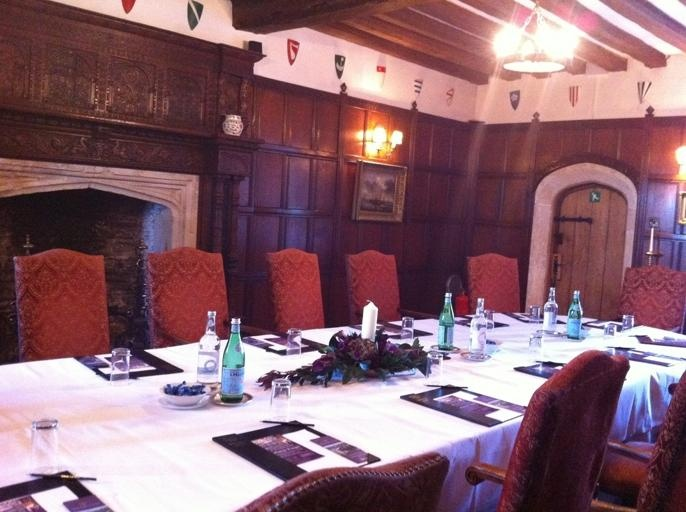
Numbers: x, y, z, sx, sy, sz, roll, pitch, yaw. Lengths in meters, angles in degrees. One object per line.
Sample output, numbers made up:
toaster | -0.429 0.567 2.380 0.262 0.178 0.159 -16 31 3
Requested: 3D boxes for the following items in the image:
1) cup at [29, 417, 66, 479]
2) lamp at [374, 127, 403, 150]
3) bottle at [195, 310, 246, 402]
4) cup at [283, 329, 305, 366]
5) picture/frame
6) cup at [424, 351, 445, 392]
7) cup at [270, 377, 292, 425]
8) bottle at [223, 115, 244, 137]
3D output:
cup | -0.844 0.541 1.471 0.076 0.145 0.046 1 2 -22
lamp | 0.590 -1.585 6.916 0.371 0.327 0.262 1 2 -35
bottle | -0.568 0.455 2.360 0.277 0.422 0.124 7 4 42
cup | -0.270 0.484 2.800 0.113 0.207 0.115 0 5 0
picture/frame | 0.495 -0.849 7.003 0.837 0.791 0.146 13 14 42
cup | 0.433 0.561 2.543 0.098 0.153 0.097 6 -8 1
cup | -0.231 0.520 1.911 0.071 0.150 0.123 2 2 -9
bottle | -1.147 -1.356 5.375 0.228 0.276 0.206 -7 13 -42
